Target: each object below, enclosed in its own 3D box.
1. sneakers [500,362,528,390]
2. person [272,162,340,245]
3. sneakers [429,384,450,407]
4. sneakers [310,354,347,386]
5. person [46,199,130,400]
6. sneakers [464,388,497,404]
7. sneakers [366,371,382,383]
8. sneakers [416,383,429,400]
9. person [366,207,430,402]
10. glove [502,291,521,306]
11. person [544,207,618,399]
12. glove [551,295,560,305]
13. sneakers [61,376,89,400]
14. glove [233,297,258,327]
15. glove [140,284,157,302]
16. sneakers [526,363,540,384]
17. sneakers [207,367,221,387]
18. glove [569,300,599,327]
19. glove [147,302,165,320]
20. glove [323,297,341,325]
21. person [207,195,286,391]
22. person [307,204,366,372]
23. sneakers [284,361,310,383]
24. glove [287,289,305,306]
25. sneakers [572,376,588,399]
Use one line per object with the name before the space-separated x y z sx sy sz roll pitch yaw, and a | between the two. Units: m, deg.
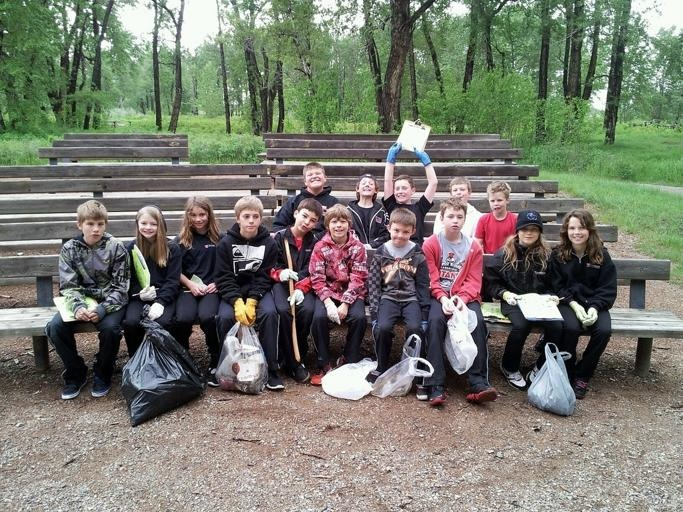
sneakers | 1.673 1.176 5.636 0.119 0.119 0.297 -15 28 -24
person | -0.352 -0.634 6.768 1.108 0.937 0.617 2 10 8
sneakers | 0.867 1.259 5.185 0.158 0.172 0.141 0 11 0
sneakers | -0.162 1.095 5.628 0.152 0.210 0.501 18 17 38
person | -2.364 0.376 5.360 0.688 1.715 0.738 -2 11 -6
sneakers | 1.264 1.254 5.185 0.126 0.131 0.312 19 -30 -29
sneakers | 0.307 1.130 5.401 0.138 0.097 0.108 -10 15 -40
sneakers | 0.742 1.244 5.263 0.094 0.137 0.182 -4 12 -17
person | 0.564 0.321 5.576 0.598 1.509 0.667 0 11 4
glove | 1.673 0.419 5.657 0.105 0.114 0.183 -6 12 -24
person | 2.344 0.381 5.624 0.616 1.610 0.747 4 12 23
glove | 2.098 0.435 5.644 0.062 0.088 0.157 8 14 36
sneakers | -2.438 1.208 5.239 0.232 0.131 0.177 -7 13 -30
glove | -0.903 0.530 5.448 0.201 0.085 0.246 -1 40 -7
glove | -1.856 0.369 5.531 0.161 0.140 0.088 -4 12 -20
sneakers | 1.882 1.143 5.648 0.085 0.107 0.251 16 52 36
sneakers | -1.220 1.116 5.440 0.115 0.175 0.282 -3 11 -15
glove | 2.373 0.561 5.568 0.242 0.216 0.230 -2 11 -7
glove | -1.750 0.518 5.420 0.125 0.127 0.225 2 11 14
glove | -0.087 0.524 5.508 0.138 0.232 0.070 -24 -27 -14
person | -0.921 0.318 5.573 0.619 1.684 0.825 -2 11 -7
person | -0.033 0.317 5.685 0.587 1.592 0.689 0 11 2
sneakers | -0.450 1.126 5.599 0.108 0.128 0.320 -19 12 -34
glove | -0.441 0.409 5.622 0.152 0.141 0.101 -2 11 -7
sneakers | 2.291 1.234 5.494 0.148 0.152 0.334 5 12 25
